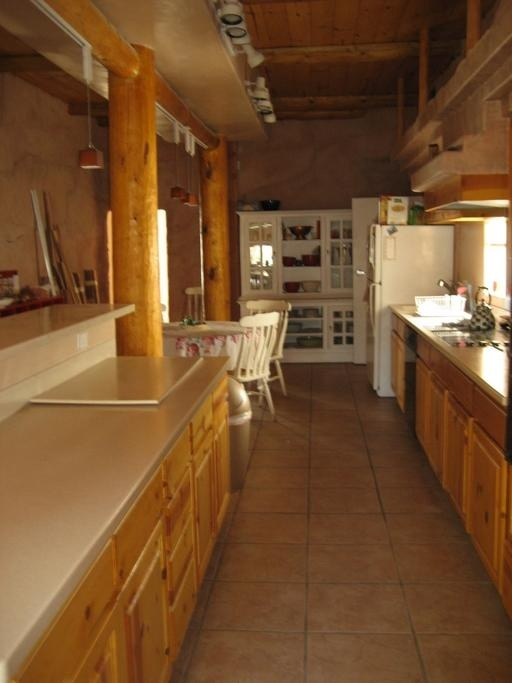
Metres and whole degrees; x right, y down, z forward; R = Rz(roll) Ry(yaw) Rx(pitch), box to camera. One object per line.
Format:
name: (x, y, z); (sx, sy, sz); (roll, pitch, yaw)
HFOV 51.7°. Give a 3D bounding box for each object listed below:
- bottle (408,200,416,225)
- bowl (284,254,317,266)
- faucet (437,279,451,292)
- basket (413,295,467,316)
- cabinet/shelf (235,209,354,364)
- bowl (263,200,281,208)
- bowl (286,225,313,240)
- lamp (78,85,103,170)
bottle: (1.589, -1.321, 5.377); (0.071, 0.267, 0.251); (0, 7, 14)
bowl: (0.650, -1.089, 7.191); (0.297, 0.116, 0.209); (-5, 3, 19)
faucet: (1.789, -0.538, 5.007); (0.069, 0.064, 0.184); (4, -26, 34)
basket: (1.500, -0.288, 4.307); (0.366, 0.160, 0.277); (1, 7, 19)
cabinet/shelf: (0.652, -0.743, 7.246); (1.584, 2.052, 0.513); (-2, 8, 4)
bowl: (0.214, -1.849, 7.150); (0.136, 0.077, 0.144); (0, 11, 0)
bowl: (0.578, -1.482, 7.182); (0.237, 0.129, 0.247); (-4, 12, 1)
lamp: (-0.983, -1.290, 3.127); (0.100, 0.520, 0.119); (-1, 3, -1)
